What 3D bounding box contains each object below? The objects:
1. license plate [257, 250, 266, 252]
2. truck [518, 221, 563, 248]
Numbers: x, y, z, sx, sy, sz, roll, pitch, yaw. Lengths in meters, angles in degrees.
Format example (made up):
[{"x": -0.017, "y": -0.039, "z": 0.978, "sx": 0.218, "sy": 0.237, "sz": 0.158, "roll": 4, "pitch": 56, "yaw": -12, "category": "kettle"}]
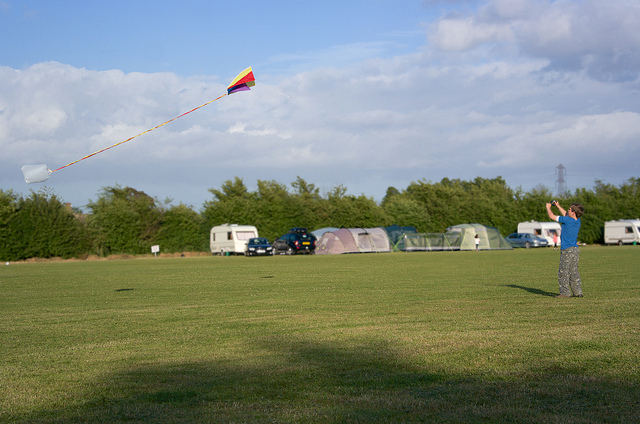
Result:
[{"x": -4.079, "y": 2.544, "z": 47.628, "sx": 0.468, "sy": 0.107, "sz": 0.068, "roll": -3, "pitch": 8, "yaw": -11, "category": "license plate"}, {"x": 18.174, "y": 1.719, "z": 58.207, "sx": 2.307, "sy": 1.883, "sz": 3.217, "roll": 0, "pitch": -2, "yaw": -27, "category": "truck"}]
